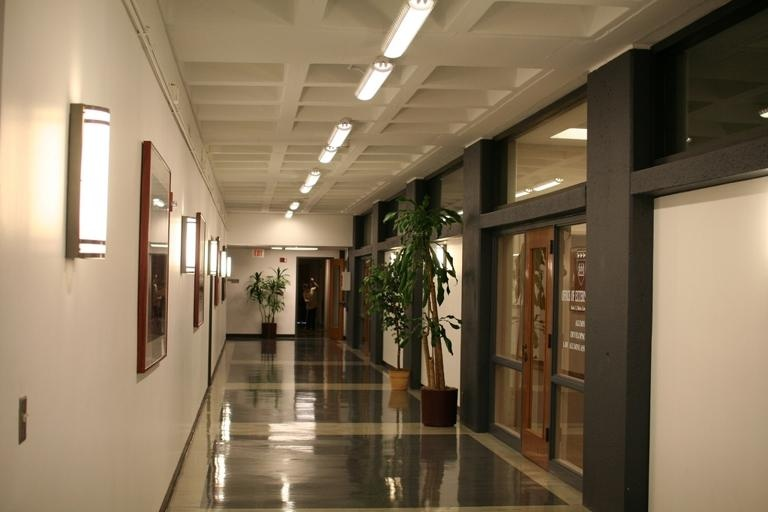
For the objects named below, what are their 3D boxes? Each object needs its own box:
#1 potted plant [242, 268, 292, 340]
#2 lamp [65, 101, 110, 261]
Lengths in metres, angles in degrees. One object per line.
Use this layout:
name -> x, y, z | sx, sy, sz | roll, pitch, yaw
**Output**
potted plant -> -3.565, 1.175, 16.393 | 1.302, 1.447, 0.578 | 2, -1, -5
lamp -> -1.207, -0.305, 2.206 | 0.111, 0.588, 0.200 | 1, -1, 18
